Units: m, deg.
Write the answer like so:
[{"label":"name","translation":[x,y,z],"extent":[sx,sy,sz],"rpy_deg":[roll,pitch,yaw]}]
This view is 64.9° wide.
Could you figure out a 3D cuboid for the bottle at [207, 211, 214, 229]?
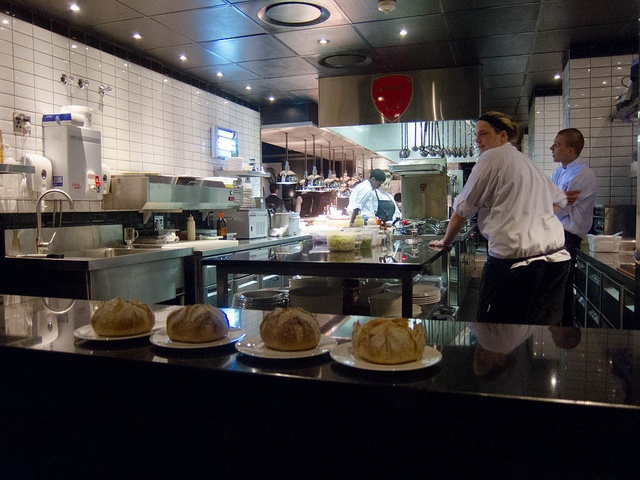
[{"label":"bottle","translation":[-1.377,-0.244,6.281],"extent":[0.059,0.215,0.157],"rpy_deg":[5,8,41]}]

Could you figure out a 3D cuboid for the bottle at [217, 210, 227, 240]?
[{"label":"bottle","translation":[-1.156,-0.160,5.921],"extent":[0.120,0.294,0.377],"rpy_deg":[-1,7,-12]}]

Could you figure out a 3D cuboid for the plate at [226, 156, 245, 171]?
[{"label":"plate","translation":[-1.143,-0.999,6.727],"extent":[0.196,0.199,0.169],"rpy_deg":[3,-3,-4]}]

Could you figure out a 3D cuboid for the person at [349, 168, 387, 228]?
[{"label":"person","translation":[0.636,-0.603,6.685],"extent":[0.449,0.647,1.548],"rpy_deg":[0,7,4]}]

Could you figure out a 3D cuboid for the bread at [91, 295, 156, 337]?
[{"label":"bread","translation":[-0.591,0.223,1.497],"extent":[0.169,0.098,0.173],"rpy_deg":[-3,8,-26]}]

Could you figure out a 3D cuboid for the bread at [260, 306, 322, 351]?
[{"label":"bread","translation":[-0.076,0.244,1.385],"extent":[0.163,0.110,0.161],"rpy_deg":[-1,-3,-28]}]

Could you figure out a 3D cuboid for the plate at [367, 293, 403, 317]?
[{"label":"plate","translation":[0.383,0.380,2.933],"extent":[0.152,0.143,0.312],"rpy_deg":[-2,7,-15]}]

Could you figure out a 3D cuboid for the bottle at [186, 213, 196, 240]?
[{"label":"bottle","translation":[-1.424,-0.115,5.548],"extent":[0.087,0.240,0.218],"rpy_deg":[-2,7,-13]}]

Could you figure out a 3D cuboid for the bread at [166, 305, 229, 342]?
[{"label":"bread","translation":[-0.334,0.214,1.393],"extent":[0.115,0.070,0.118],"rpy_deg":[0,-4,6]}]

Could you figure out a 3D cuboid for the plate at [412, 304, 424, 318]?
[{"label":"plate","translation":[0.581,0.426,2.991],"extent":[0.080,0.035,0.111],"rpy_deg":[-1,2,5]}]

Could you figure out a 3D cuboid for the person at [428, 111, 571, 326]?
[{"label":"person","translation":[1.137,-0.030,3.051],"extent":[0.682,1.054,0.267],"rpy_deg":[3,7,27]}]

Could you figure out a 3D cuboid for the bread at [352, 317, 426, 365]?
[{"label":"bread","translation":[0.178,0.262,1.311],"extent":[0.187,0.106,0.186],"rpy_deg":[3,-5,-15]}]

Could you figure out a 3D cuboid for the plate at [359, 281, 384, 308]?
[{"label":"plate","translation":[0.314,0.336,3.195],"extent":[0.126,0.103,0.149],"rpy_deg":[-1,-3,-7]}]

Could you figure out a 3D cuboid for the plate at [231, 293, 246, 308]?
[{"label":"plate","translation":[-0.461,0.349,2.844],"extent":[0.087,0.085,0.090],"rpy_deg":[1,6,1]}]

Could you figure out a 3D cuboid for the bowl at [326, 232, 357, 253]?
[{"label":"bowl","translation":[0.137,0.016,3.325],"extent":[0.136,0.089,0.141],"rpy_deg":[0,0,0]}]

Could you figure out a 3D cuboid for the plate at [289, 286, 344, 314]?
[{"label":"plate","translation":[-0.023,0.301,2.766],"extent":[0.190,0.150,0.184],"rpy_deg":[-1,0,7]}]

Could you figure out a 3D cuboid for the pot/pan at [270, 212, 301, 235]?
[{"label":"pot/pan","translation":[-0.488,-0.197,6.675],"extent":[0.270,0.272,0.394],"rpy_deg":[0,0,11]}]

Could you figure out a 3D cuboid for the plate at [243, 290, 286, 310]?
[{"label":"plate","translation":[-0.307,0.331,2.801],"extent":[0.252,0.078,0.249],"rpy_deg":[-1,7,-9]}]
